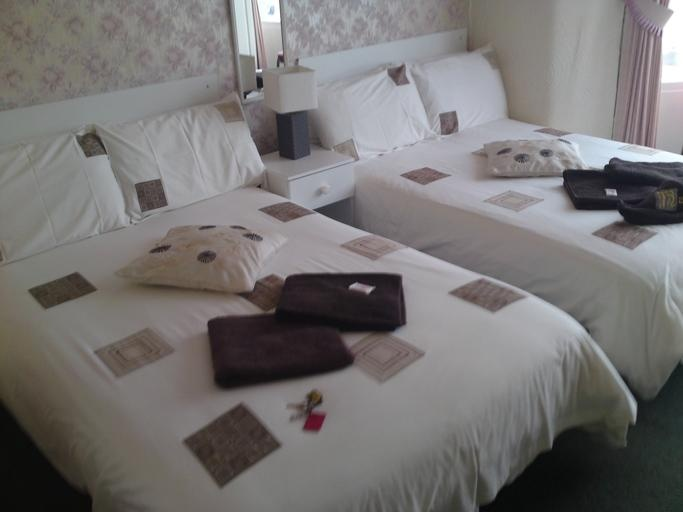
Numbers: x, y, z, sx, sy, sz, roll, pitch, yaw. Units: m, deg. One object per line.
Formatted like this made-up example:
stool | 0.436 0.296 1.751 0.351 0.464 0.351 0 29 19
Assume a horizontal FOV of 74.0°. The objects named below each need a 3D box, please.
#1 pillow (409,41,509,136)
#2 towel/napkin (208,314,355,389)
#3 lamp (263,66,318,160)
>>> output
pillow | 0.855 -1.224 3.598 0.799 0.724 0.192 -17 -5 -32
towel/napkin | -0.217 0.301 1.491 0.298 0.079 0.251 -5 27 -13
lamp | -0.315 -0.899 2.806 0.292 0.605 0.295 -26 44 -29
